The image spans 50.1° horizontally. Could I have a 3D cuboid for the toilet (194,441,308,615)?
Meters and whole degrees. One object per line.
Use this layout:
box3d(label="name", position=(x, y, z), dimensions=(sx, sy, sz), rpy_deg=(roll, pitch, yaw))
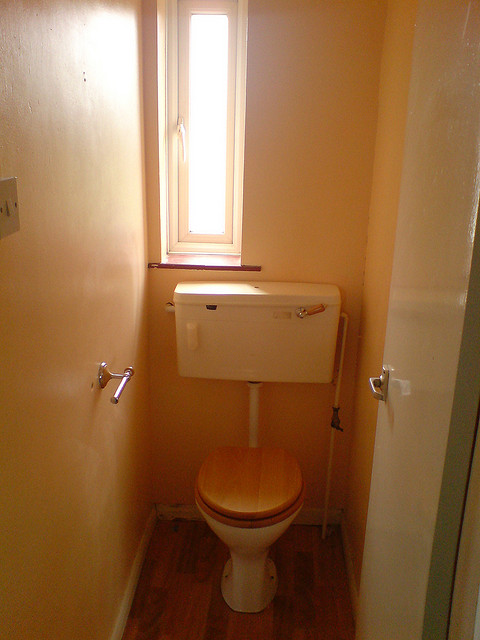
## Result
box3d(label="toilet", position=(0.040, 0.735, 1.779), dimensions=(0.344, 0.497, 0.480), rpy_deg=(2, 14, 7))

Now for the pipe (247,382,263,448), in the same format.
box3d(label="pipe", position=(0.054, 0.363, 1.975), dimensions=(0.042, 0.301, 0.117), rpy_deg=(1, 12, 3))

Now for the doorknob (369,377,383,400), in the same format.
box3d(label="doorknob", position=(0.314, 0.173, 1.194), dimensions=(0.024, 0.018, 0.078), rpy_deg=(-3, 51, 5))

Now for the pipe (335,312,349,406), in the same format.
box3d(label="pipe", position=(0.378, 0.144, 1.907), dimensions=(0.041, 0.353, 0.042), rpy_deg=(0, -4, -20))
